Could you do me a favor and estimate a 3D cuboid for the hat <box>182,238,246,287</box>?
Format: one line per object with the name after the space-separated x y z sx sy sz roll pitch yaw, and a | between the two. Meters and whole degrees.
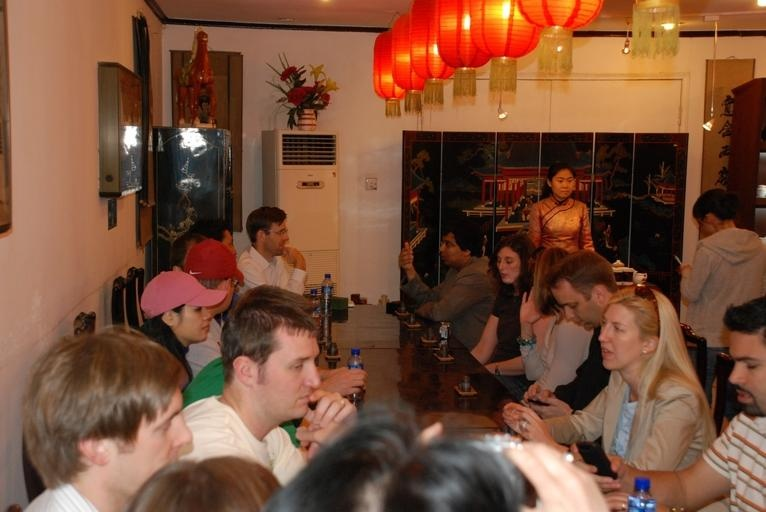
-1.016 0.056 3.592 0.305 0.169 0.223 12 14 -29 | hat

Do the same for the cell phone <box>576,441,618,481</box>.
0.857 0.820 2.374 0.163 0.135 0.095 3 12 16 | cell phone

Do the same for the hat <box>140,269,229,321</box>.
-1.056 0.223 3.158 0.374 0.185 0.241 -17 10 -1 | hat

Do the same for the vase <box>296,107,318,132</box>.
-0.899 -1.609 7.069 0.235 0.240 0.239 1 5 19 | vase

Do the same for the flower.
-0.982 -1.976 7.137 0.729 0.888 0.652 -4 12 -16 | flower
